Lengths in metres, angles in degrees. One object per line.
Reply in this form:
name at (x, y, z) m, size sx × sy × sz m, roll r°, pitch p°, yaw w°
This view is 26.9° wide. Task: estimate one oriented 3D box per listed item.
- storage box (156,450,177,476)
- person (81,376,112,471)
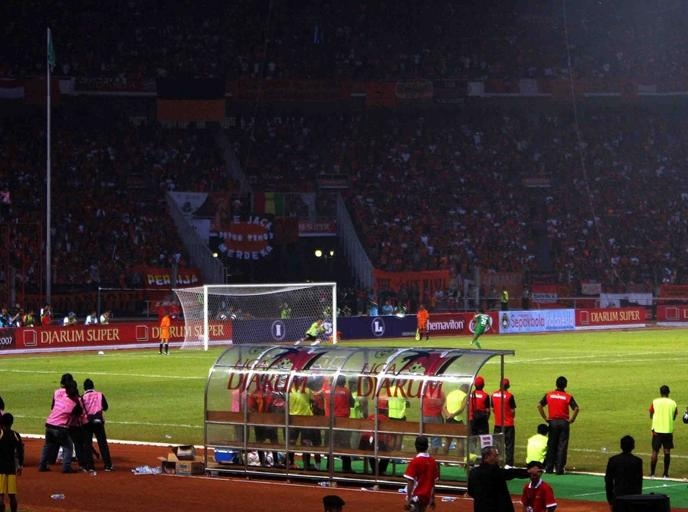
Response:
storage box at (-7.773, 9.203, 64.538) m, size 0.988 × 0.660 × 0.913 m, roll 1°, pitch 2°, yaw 26°
person at (-11.127, 7.390, 64.496) m, size 1.151 × 3.797 × 1.538 m, roll 1°, pitch 7°, yaw -24°
